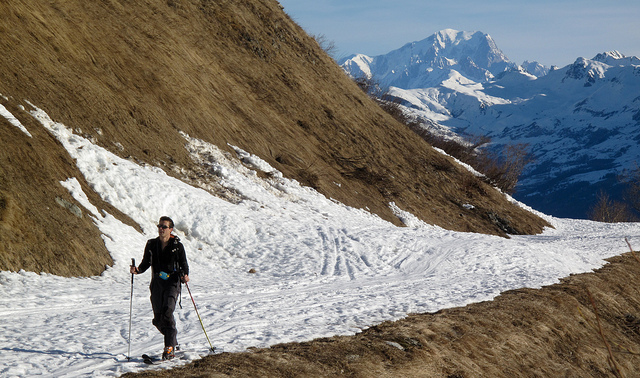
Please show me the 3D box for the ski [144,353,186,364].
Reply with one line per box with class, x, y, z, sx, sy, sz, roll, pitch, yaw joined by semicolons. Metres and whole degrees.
ski;-7.004;7.551;38.552;1.750;0.213;0.289;-10;29;-16
